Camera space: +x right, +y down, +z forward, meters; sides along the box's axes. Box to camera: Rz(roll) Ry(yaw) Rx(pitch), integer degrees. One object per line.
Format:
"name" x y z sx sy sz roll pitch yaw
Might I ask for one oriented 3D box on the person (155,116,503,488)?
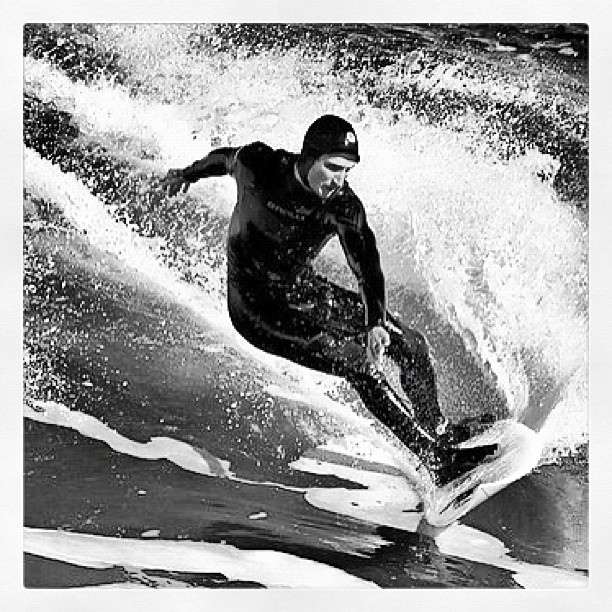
"person" 0.024 -0.128 5.387 1.495 1.213 0.433 21 28 26
